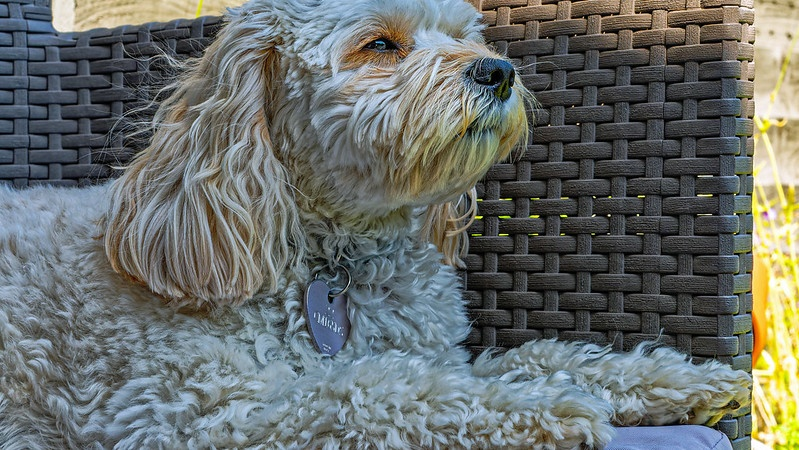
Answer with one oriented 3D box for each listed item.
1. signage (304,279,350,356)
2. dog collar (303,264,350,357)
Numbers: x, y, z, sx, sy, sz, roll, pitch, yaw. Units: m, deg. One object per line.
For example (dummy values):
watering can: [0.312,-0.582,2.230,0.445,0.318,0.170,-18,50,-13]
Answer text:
signage: [-0.282,0.370,4.837,0.262,0.263,0.032,23,-35,-39]
dog collar: [-0.279,0.336,4.857,0.223,0.284,0.035,15,-28,-36]
